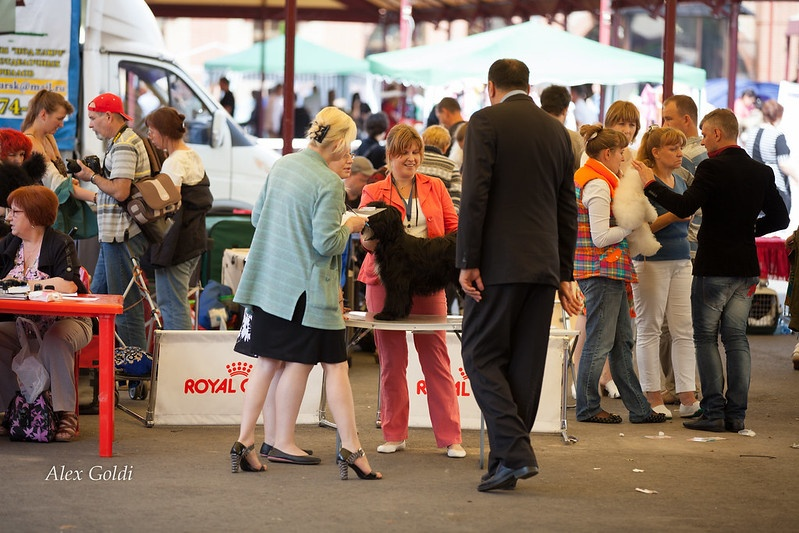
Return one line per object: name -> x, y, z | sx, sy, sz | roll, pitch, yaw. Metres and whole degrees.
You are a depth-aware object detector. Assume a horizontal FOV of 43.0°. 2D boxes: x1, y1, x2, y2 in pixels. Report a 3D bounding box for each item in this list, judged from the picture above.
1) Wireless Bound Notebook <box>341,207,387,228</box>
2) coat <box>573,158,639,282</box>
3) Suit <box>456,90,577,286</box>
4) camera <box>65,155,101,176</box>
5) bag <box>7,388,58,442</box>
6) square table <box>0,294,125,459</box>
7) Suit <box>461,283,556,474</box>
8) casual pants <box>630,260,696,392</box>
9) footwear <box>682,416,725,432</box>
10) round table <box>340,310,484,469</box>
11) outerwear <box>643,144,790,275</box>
Wireless Bound Notebook -> -0.263, -0.355, 7.371 | 0.555, 0.066, 0.517 | -4, 7, 5
coat -> 1.697, -0.540, 8.418 | 0.375, 0.824, 0.601 | 0, -19, 7
Suit -> 0.853, -0.532, 7.030 | 0.924, 1.343, 0.325 | -1, 1, -28
camera -> -2.841, -0.908, 9.040 | 0.211, 0.133, 0.197 | -3, 6, -27
bag -> -2.844, 1.160, 7.850 | 0.349, 0.368, 0.192 | 0, -7, 0
square table -> -2.603, 0.700, 8.029 | 0.967, 1.270, 1.305 | 0, 1, -4
Suit -> 0.796, 0.656, 7.076 | 0.619, 1.521, 0.552 | -6, 11, -20
casual pants -> 2.337, 0.443, 8.871 | 0.512, 1.313, 0.398 | 2, -7, -1
footwear -> 2.563, 1.322, 8.542 | 0.320, 0.149, 0.127 | 4, -1, 34
round table -> 0.155, 0.830, 7.571 | 1.057, 0.834, 0.989 | 0, 2, 0
outerwear -> 2.696, -0.107, 8.705 | 1.109, 1.749, 0.630 | 3, 6, -12
